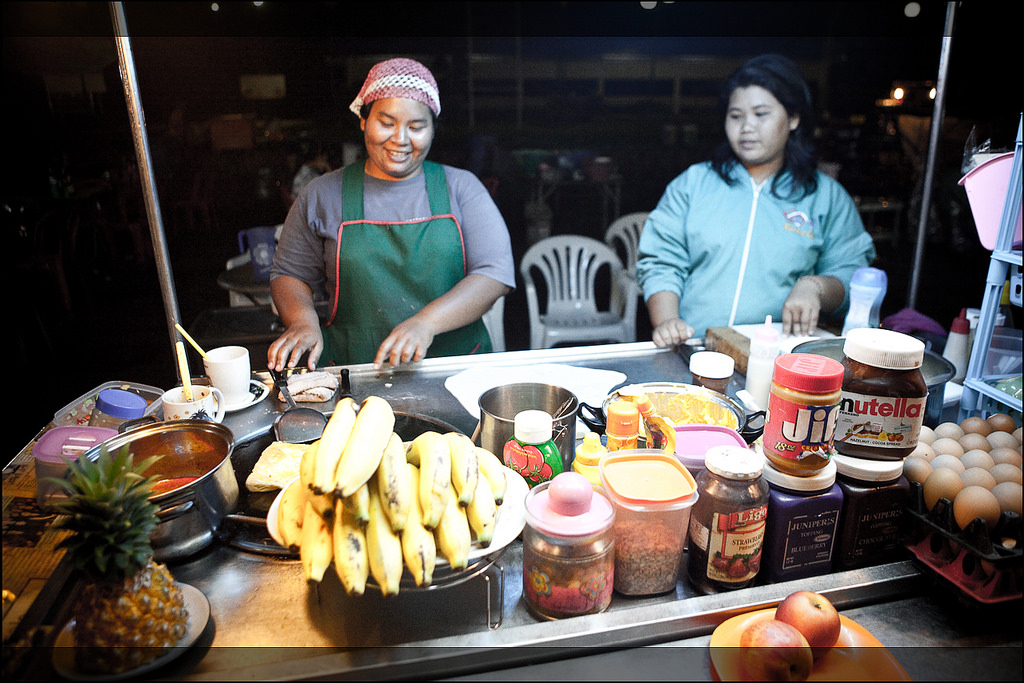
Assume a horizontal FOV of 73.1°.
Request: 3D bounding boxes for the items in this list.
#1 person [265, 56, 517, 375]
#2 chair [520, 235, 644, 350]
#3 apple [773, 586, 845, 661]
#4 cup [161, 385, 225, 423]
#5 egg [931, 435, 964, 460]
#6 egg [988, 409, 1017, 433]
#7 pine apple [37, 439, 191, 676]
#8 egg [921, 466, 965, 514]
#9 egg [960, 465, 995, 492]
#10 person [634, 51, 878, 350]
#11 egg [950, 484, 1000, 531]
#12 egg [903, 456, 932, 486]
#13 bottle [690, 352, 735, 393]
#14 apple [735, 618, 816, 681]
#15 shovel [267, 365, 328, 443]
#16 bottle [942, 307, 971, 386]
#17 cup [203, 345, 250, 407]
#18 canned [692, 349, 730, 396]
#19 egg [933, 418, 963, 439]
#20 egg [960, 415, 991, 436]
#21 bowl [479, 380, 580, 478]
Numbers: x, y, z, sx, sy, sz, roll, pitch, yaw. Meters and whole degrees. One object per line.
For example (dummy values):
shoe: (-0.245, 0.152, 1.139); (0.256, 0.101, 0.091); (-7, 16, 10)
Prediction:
person: (-0.474, -0.395, 2.500); (0.943, 1.152, 0.614); (-3, 21, 0)
chair: (0.450, -0.225, 4.340); (0.731, 0.994, 0.724); (-5, 21, -6)
apple: (0.592, 0.552, 1.413); (0.112, 0.114, 0.113); (43, 14, 17)
cup: (-0.851, 0.169, 1.872); (0.153, 0.106, 0.114); (4, 11, -18)
egg: (1.013, 0.247, 1.603); (0.045, 0.034, 0.044); (-3, 9, 0)
egg: (1.197, 0.194, 1.680); (0.047, 0.056, 0.048); (8, 6, 33)
pine apple: (-0.773, 0.404, 1.341); (0.213, 0.399, 0.224); (-15, 24, -29)
egg: (0.940, 0.328, 1.503); (0.083, 0.098, 0.082); (6, -5, -7)
egg: (1.018, 0.300, 1.507); (0.048, 0.056, 0.049); (-6, -2, 34)
person: (1.054, -0.450, 2.990); (1.011, 1.436, 0.889); (5, 29, 19)
egg: (0.972, 0.346, 1.478); (0.083, 0.100, 0.084); (8, 17, 18)
egg: (0.911, 0.290, 1.552); (0.052, 0.059, 0.052); (2, -15, 3)
bottle: (0.572, 0.087, 1.972); (0.115, 0.085, 0.114); (0, 15, 0)
apple: (0.498, 0.592, 1.308); (0.109, 0.112, 0.135); (-7, -2, -7)
shovel: (-0.610, 0.137, 1.939); (0.119, 0.044, 0.361); (-3, 28, -24)
bottle: (1.357, 0.017, 2.099); (0.068, 0.186, 0.247); (10, 24, 32)
cup: (-0.825, 0.099, 2.106); (0.121, 0.162, 0.187); (-4, 5, -8)
canned: (0.570, 0.085, 1.977); (0.110, 0.081, 0.107); (-10, 20, -31)
egg: (1.065, 0.209, 1.668); (0.042, 0.026, 0.043); (0, 13, 22)
egg: (1.128, 0.206, 1.690); (0.048, 0.055, 0.048); (3, 6, -4)
bowl: (0.044, 0.191, 1.732); (0.217, 0.233, 0.224); (0, 20, 0)
